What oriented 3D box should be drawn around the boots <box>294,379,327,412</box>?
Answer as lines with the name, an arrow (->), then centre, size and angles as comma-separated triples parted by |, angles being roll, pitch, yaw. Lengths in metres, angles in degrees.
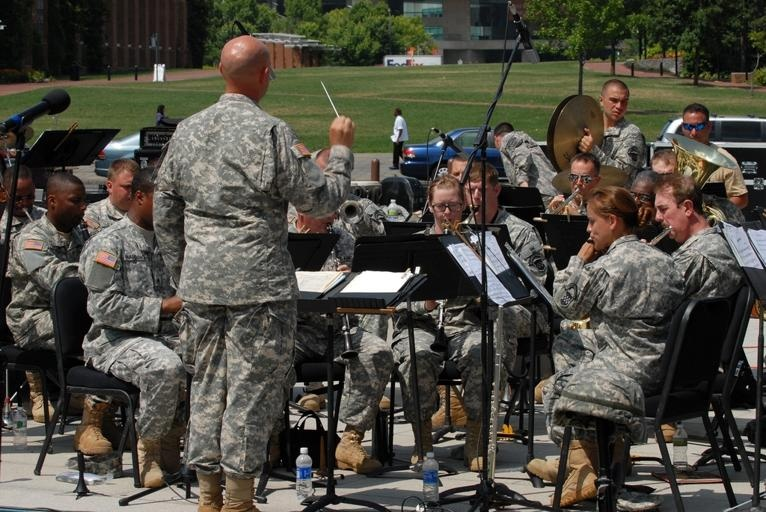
boots -> -0.621, 1.379, 13.108 | 0.217, 0.316, 0.519 | -2, -16, 11

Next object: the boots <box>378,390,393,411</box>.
boots -> 0.024, 1.454, 13.381 | 0.241, 0.189, 0.219 | 3, 2, 1

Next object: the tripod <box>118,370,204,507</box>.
tripod -> -1.842, 1.564, 11.599 | 0.568, 0.994, 0.968 | 1, 9, 13

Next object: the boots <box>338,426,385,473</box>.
boots -> -0.126, 1.786, 11.913 | 0.657, 0.384, 0.216 | 3, -3, 28

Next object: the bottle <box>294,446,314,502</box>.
bottle -> -0.668, 1.868, 11.444 | 0.143, 0.453, 0.320 | -2, 9, -4

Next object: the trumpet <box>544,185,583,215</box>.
trumpet -> 1.900, -0.575, 14.051 | 0.435, 0.236, 0.240 | -38, -13, -28

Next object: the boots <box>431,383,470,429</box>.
boots -> 0.545, 1.480, 12.943 | 0.499, 0.397, 0.217 | -4, -9, -36

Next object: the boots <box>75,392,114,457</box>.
boots -> -2.601, 1.522, 12.028 | 0.506, 0.517, 0.333 | 3, -4, 13

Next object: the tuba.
tuba -> 3.322, -0.937, 13.972 | 0.780, 1.227, 1.414 | 1, 14, 4

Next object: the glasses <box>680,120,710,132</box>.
glasses -> 3.418, -1.449, 14.745 | 0.292, 0.105, 0.237 | 3, 9, 23

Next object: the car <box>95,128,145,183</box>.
car -> -5.940, -2.269, 29.910 | 0.960, 0.935, 2.039 | -3, 8, -12

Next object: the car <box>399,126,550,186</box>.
car -> 2.002, -2.235, 29.081 | 3.599, 1.021, 1.364 | -3, 4, 2
